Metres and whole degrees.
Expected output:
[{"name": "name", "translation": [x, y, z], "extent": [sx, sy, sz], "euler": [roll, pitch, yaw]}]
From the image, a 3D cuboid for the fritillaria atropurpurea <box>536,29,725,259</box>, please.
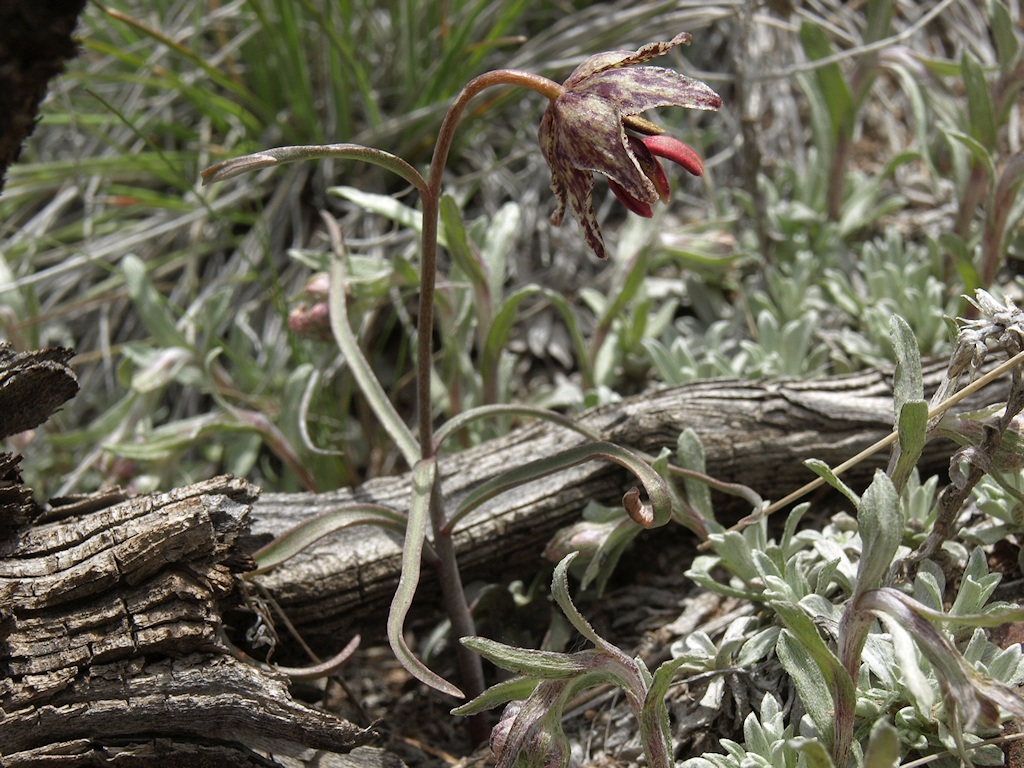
[{"name": "fritillaria atropurpurea", "translation": [0.216, -0.472, 2.299], "extent": [0.314, 0.408, 0.464], "euler": [3, 45, 7]}]
